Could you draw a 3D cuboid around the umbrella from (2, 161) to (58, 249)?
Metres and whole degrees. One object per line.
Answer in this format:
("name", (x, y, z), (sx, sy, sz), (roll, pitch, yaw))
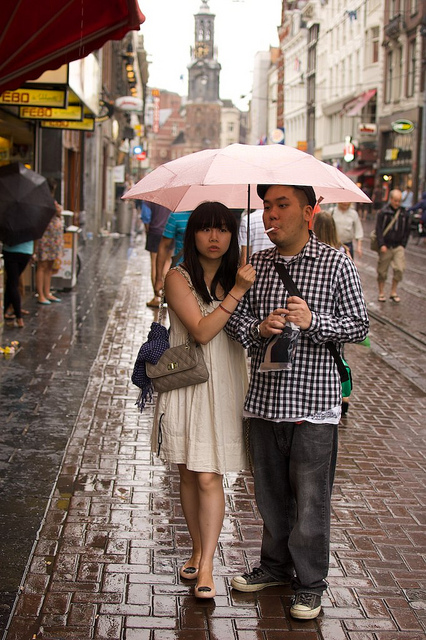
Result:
("umbrella", (-2.566, -1.600, 7.587), (0.725, 1.140, 1.014), (0, 10, -17))

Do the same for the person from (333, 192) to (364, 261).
("person", (2.523, -1.460, 10.502), (0.604, 1.968, 0.579), (0, -2, 11))

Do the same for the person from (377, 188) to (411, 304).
("person", (3.844, -1.527, 11.835), (0.575, 2.410, 0.937), (11, 13, 38))

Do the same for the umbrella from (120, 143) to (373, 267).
("umbrella", (0.192, -0.475, 2.328), (0.892, 0.575, 0.944), (-5, 19, -28))

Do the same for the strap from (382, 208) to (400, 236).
("strap", (3.840, -2.058, 11.726), (0.334, 0.558, 0.107), (1, 10, -10))

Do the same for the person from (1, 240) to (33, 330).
("person", (-3.018, -0.554, 8.423), (0.402, 1.327, 0.973), (-1, 11, -21))

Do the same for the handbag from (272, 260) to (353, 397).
("handbag", (0.353, 0.031, 1.945), (0.101, 0.496, 0.129), (-32, 1, -32))
